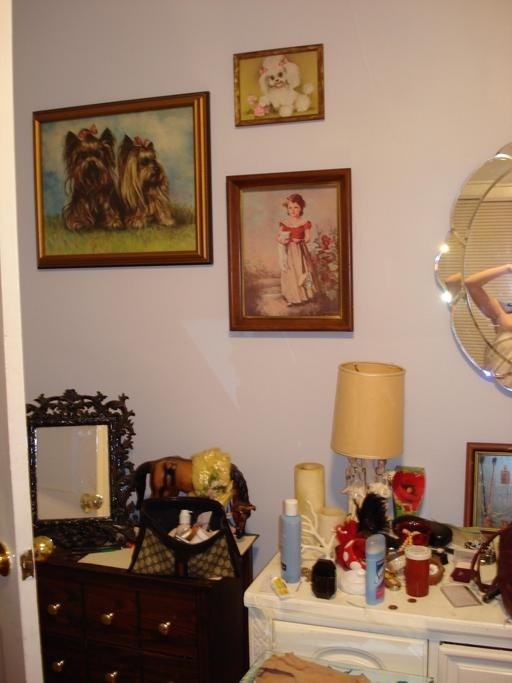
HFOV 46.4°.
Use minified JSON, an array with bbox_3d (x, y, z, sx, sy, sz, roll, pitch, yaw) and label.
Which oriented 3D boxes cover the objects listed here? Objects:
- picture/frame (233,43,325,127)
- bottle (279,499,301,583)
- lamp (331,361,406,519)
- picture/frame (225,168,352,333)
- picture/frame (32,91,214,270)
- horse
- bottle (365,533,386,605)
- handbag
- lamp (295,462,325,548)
[{"bbox_3d":[0.086,-0.841,1.940,0.300,0.209,0.014,2,9,22],"label":"picture/frame"},{"bbox_3d":[0.093,0.531,1.615,0.055,0.218,0.070,-1,2,2],"label":"bottle"},{"bbox_3d":[0.330,0.311,1.773,0.198,0.491,0.307,0,2,10],"label":"lamp"},{"bbox_3d":[0.123,-0.315,1.974,0.560,0.685,0.054,1,8,18],"label":"picture/frame"},{"bbox_3d":[-0.448,-0.587,2.128,0.684,0.555,0.034,1,9,18],"label":"picture/frame"},{"bbox_3d":[-0.207,0.513,1.996,0.411,0.308,0.119,9,2,12],"label":"horse"},{"bbox_3d":[0.298,0.560,1.499,0.049,0.162,0.109,0,2,11],"label":"bottle"},{"bbox_3d":[-0.202,0.591,1.702,0.379,0.224,0.215,0,-14,3],"label":"handbag"},{"bbox_3d":[0.160,0.497,1.793,0.092,0.229,0.231,0,2,4],"label":"lamp"}]
